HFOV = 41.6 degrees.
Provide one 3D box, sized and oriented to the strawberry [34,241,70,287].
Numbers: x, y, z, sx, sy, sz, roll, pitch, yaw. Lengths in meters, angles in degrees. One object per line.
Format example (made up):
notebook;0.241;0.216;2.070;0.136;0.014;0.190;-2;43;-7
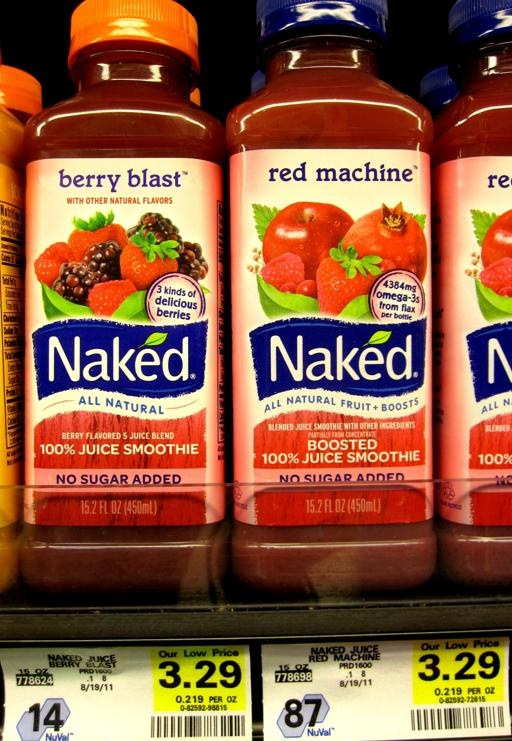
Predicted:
strawberry;-0.245;-0.130;0.814;0.046;0.050;0.022;15;-7;-4
